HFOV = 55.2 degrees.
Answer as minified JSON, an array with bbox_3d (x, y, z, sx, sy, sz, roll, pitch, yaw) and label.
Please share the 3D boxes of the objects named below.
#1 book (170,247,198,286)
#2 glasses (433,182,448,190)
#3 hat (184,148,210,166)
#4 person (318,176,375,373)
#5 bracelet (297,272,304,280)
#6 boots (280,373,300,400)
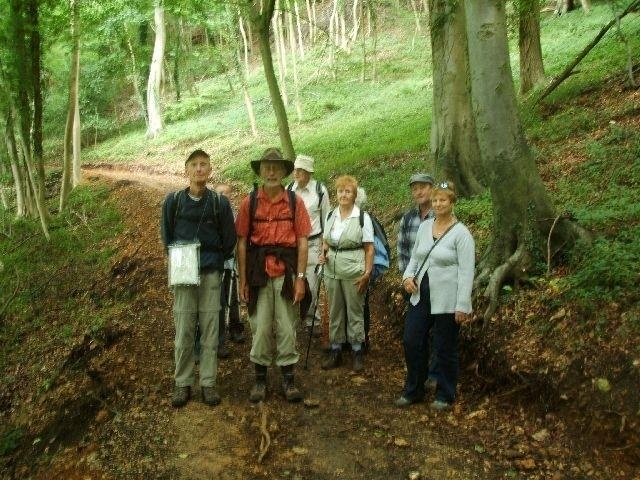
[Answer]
[{"bbox_3d":[-1.909,0.376,8.540,0.431,0.627,0.189,-1,-3,-2],"label":"book"},{"bbox_3d":[1.663,-0.740,8.350,0.182,0.071,0.171,-20,23,-30],"label":"glasses"},{"bbox_3d":[-1.785,-1.215,8.729,0.311,0.195,0.313,-13,20,-14],"label":"hat"},{"bbox_3d":[0.423,0.517,9.495,0.877,2.892,0.793,-4,17,6],"label":"person"},{"bbox_3d":[-0.278,0.509,8.658,0.075,0.065,0.076,0,-4,40],"label":"bracelet"},{"bbox_3d":[-0.434,2.113,8.857,0.161,0.342,0.457,5,6,-32],"label":"boots"}]
